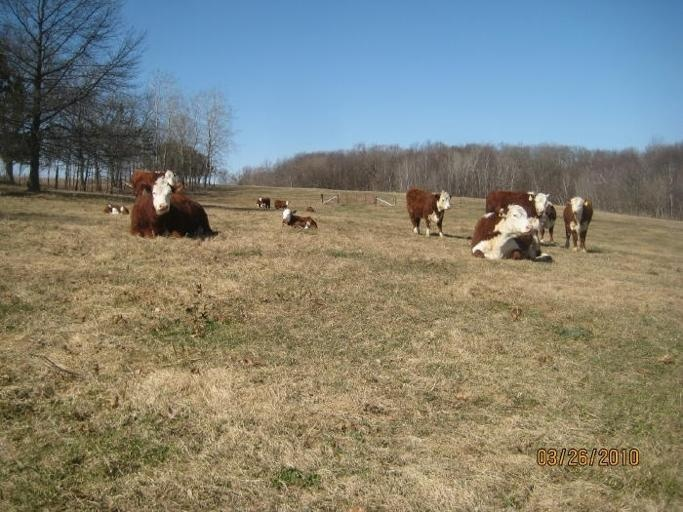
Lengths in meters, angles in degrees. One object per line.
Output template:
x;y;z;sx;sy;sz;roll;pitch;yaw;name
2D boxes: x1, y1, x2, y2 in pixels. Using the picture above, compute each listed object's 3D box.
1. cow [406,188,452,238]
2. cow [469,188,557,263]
3.711;-1.973;23.396;1.029;1.985;3.112;0;13;-11;cow
5.310;-0.768;17.635;1.301;2.164;4.041;-1;-2;-2;cow
